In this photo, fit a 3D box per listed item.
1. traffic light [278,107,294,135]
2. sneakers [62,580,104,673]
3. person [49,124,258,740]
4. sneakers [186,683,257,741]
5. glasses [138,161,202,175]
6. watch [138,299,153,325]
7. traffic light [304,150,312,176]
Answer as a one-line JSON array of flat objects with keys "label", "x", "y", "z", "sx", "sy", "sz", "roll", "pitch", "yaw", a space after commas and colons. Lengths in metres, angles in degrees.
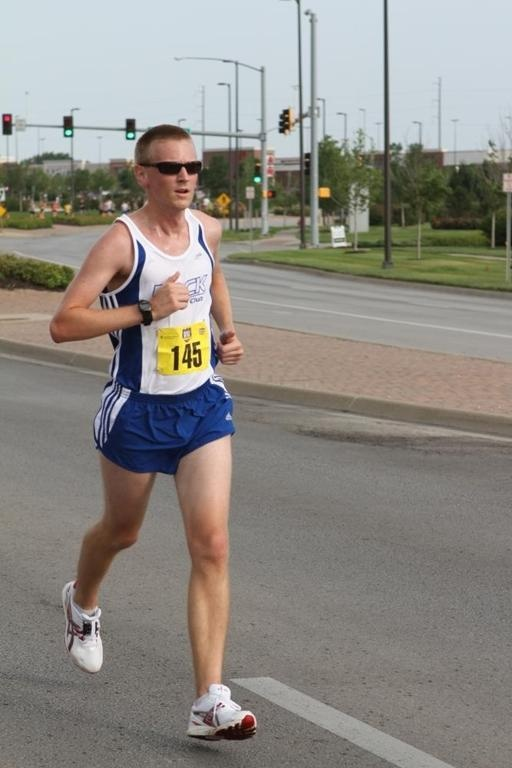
[{"label": "traffic light", "x": 1.524, "y": -13.397, "z": 40.142, "sx": 0.663, "sy": 1.291, "sz": 1.209, "roll": 1, "pitch": 5, "yaw": 5}, {"label": "sneakers", "x": -0.575, "y": 0.767, "z": 2.631, "sx": 0.102, "sy": 0.326, "sz": 0.130, "roll": -3, "pitch": -26, "yaw": -37}, {"label": "person", "x": -0.306, "y": 0.111, "z": 2.314, "sx": 0.576, "sy": 1.763, "sz": 0.889, "roll": 0, "pitch": 4, "yaw": -10}, {"label": "sneakers", "x": -0.090, "y": 0.850, "z": 2.030, "sx": 0.202, "sy": 0.127, "sz": 0.089, "roll": -23, "pitch": -44, "yaw": 37}, {"label": "glasses", "x": -0.249, "y": -0.636, "z": 2.317, "sx": 0.173, "sy": 0.054, "sz": 0.101, "roll": -1, "pitch": 5, "yaw": -12}, {"label": "watch", "x": -0.309, "y": -0.204, "z": 2.223, "sx": 0.039, "sy": 0.065, "sz": 0.058, "roll": -13, "pitch": -28, "yaw": -17}, {"label": "traffic light", "x": 2.664, "y": -11.751, "z": 41.809, "sx": 0.340, "sy": 1.078, "sz": 0.724, "roll": 0, "pitch": 4, "yaw": 0}]
